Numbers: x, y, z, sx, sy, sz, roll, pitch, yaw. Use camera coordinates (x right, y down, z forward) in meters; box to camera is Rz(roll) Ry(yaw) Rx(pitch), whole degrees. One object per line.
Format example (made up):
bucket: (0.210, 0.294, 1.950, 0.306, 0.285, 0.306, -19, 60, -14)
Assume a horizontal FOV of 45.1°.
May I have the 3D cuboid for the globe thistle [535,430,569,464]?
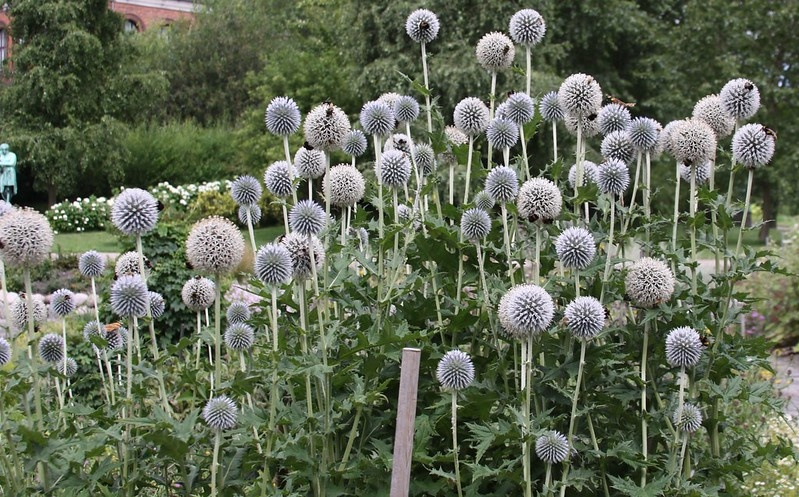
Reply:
globe thistle: (1.920, 2.546, 12.385, 0.407, 0.445, 0.425, -3, 33, -2)
